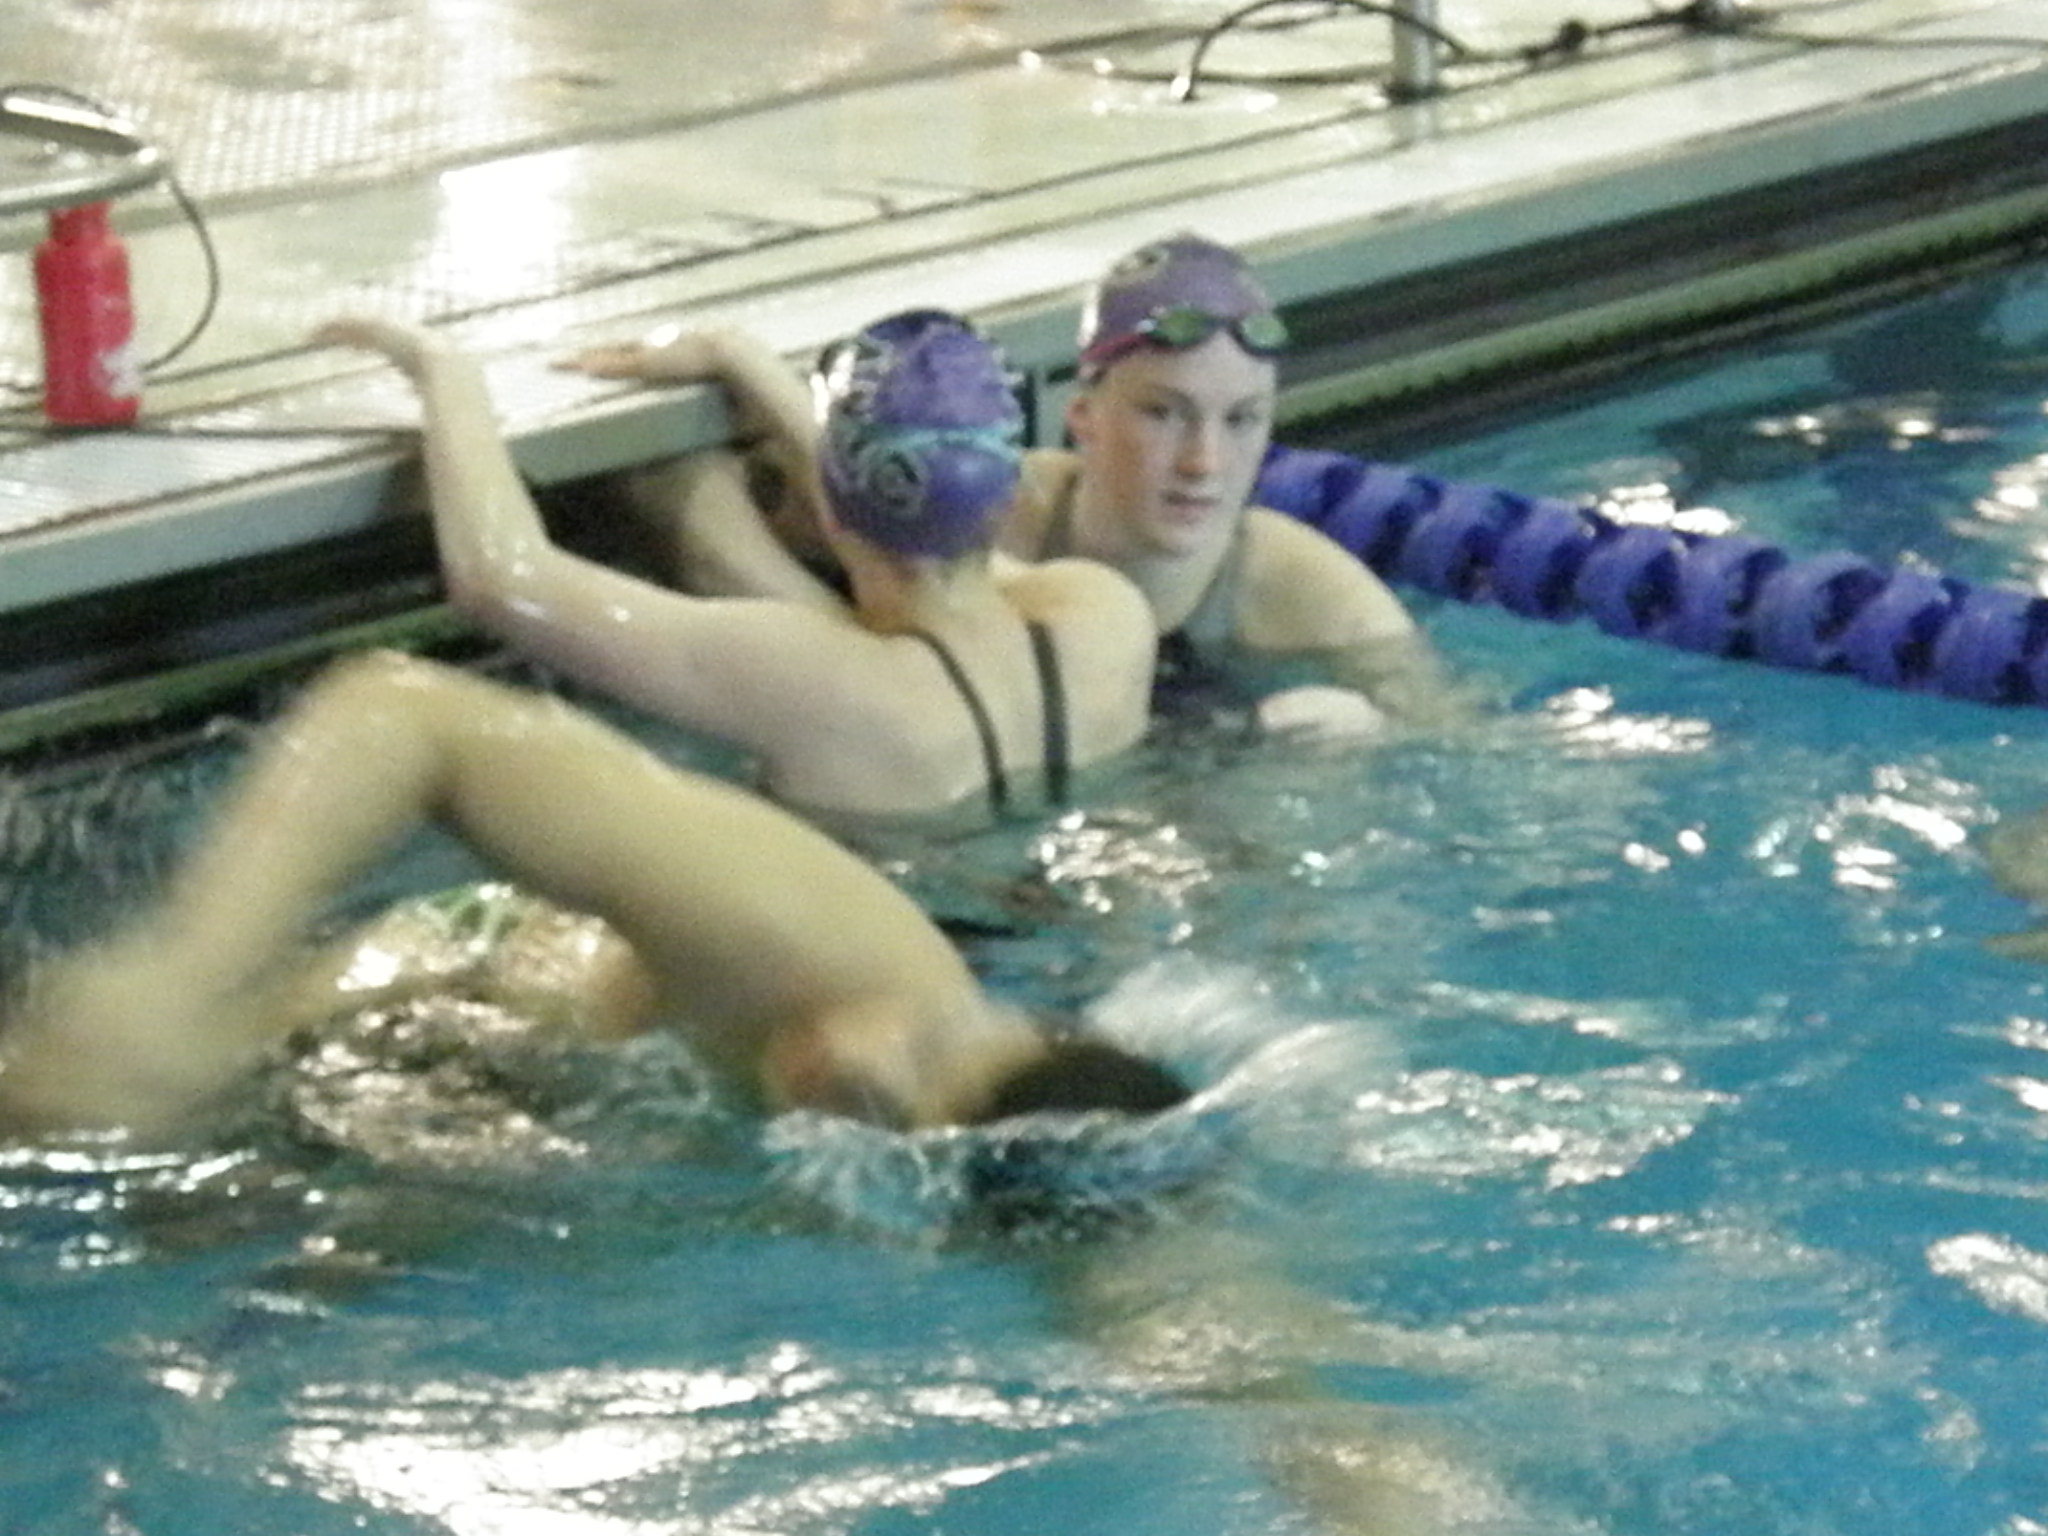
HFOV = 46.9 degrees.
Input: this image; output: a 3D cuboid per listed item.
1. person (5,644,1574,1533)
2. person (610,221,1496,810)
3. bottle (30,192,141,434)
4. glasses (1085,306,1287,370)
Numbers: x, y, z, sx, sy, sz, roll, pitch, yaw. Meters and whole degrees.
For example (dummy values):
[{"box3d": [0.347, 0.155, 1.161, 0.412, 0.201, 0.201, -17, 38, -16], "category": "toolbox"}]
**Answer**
[{"box3d": [-0.262, 0.317, 2.841, 1.518, 0.447, 0.988, 20, 17, -4], "category": "person"}, {"box3d": [0.147, -0.541, 4.023, 0.889, 0.517, 1.190, -5, 24, -29], "category": "person"}, {"box3d": [-1.521, -0.720, 3.757, 0.193, 0.355, 0.151, -4, 18, -1], "category": "bottle"}, {"box3d": [0.242, -0.668, 3.658, 0.143, 0.039, 0.153, 0, -9, -29], "category": "glasses"}]
